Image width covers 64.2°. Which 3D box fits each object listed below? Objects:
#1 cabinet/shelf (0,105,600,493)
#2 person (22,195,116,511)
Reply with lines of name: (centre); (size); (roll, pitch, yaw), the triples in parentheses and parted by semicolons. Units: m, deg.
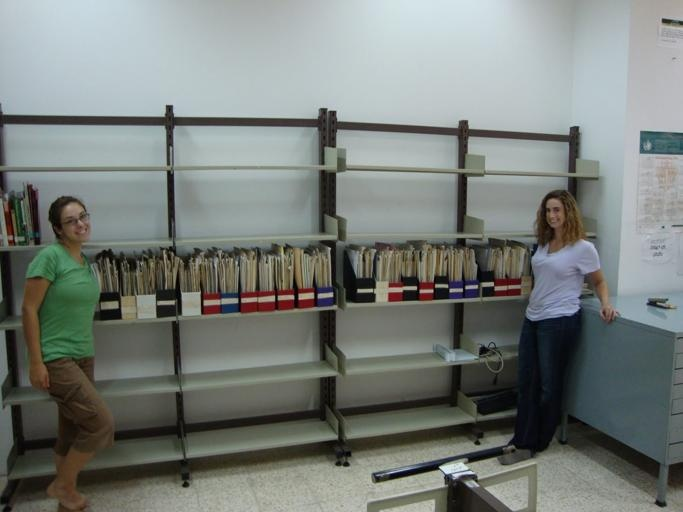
cabinet/shelf: (-0.387, 0.295, 3.676); (2.809, 1.809, 0.532); (-2, 4, -11)
person: (-1.574, 0.583, 3.143); (0.401, 1.806, 0.414); (-7, 16, -25)
